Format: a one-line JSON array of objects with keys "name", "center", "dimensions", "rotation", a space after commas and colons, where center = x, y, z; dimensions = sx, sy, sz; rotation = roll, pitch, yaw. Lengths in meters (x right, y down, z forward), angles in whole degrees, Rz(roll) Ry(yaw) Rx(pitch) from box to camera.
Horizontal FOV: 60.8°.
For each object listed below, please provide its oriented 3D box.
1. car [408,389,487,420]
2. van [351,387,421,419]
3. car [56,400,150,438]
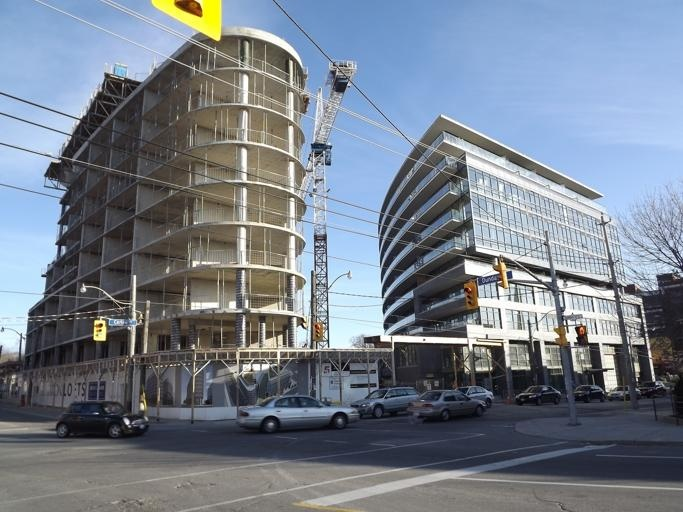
[{"name": "car", "center": [5.638, 8.003, 31.163], "dimensions": [5.466, 1.462, 2.147], "rotation": [5, -9, -38]}, {"name": "van", "center": [2.412, 8.866, 35.108], "dimensions": [4.473, 1.282, 1.915], "rotation": [10, -21, -35]}, {"name": "car", "center": [-10.980, 7.514, 26.798], "dimensions": [3.906, 1.626, 0.926], "rotation": [-6, -19, 15]}]
